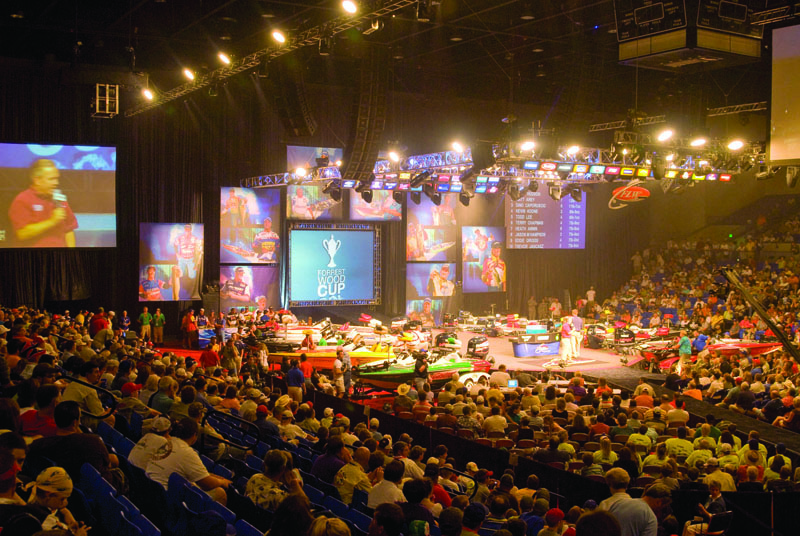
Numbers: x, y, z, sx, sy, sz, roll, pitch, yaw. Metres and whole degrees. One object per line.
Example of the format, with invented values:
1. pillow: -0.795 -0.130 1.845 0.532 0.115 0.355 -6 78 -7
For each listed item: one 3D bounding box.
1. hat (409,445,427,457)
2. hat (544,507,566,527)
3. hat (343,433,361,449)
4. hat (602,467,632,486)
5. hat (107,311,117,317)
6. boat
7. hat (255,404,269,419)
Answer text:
1. hat: 0.272 2.785 9.605 0.154 0.134 0.333 -2 -1 20
2. hat: 1.890 3.021 7.700 0.237 0.132 0.175 -17 16 -32
3. hat: -0.752 2.721 9.931 0.319 0.304 0.174 2 0 2
4. hat: 2.562 2.455 7.490 0.237 0.270 0.291 0 11 8
5. hat: -10.391 1.666 22.860 0.410 0.108 0.398 4 2 -20
6. boat: 3.273 2.660 22.214 16.498 2.363 2.779 0 1 -12
7. hat: -2.333 2.441 10.799 0.189 0.244 0.243 3 11 9
